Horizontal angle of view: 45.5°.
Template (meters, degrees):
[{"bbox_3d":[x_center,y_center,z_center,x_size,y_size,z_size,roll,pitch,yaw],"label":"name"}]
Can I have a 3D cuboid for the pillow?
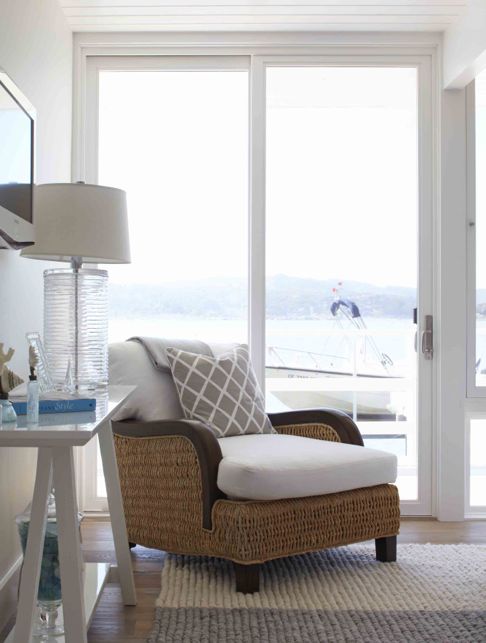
[{"bbox_3d":[-0.076,0.310,2.501,0.428,0.376,0.220,-3,0,-42],"label":"pillow"}]

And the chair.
[{"bbox_3d":[0.033,0.435,2.430,0.844,0.907,0.988,3,-6,-42],"label":"chair"}]

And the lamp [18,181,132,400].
[{"bbox_3d":[-0.548,-0.127,1.901,0.341,0.698,0.425,1,-4,-13],"label":"lamp"}]

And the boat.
[{"bbox_3d":[0.338,0.118,3.384,1.851,0.785,0.478,1,-2,1],"label":"boat"}]
